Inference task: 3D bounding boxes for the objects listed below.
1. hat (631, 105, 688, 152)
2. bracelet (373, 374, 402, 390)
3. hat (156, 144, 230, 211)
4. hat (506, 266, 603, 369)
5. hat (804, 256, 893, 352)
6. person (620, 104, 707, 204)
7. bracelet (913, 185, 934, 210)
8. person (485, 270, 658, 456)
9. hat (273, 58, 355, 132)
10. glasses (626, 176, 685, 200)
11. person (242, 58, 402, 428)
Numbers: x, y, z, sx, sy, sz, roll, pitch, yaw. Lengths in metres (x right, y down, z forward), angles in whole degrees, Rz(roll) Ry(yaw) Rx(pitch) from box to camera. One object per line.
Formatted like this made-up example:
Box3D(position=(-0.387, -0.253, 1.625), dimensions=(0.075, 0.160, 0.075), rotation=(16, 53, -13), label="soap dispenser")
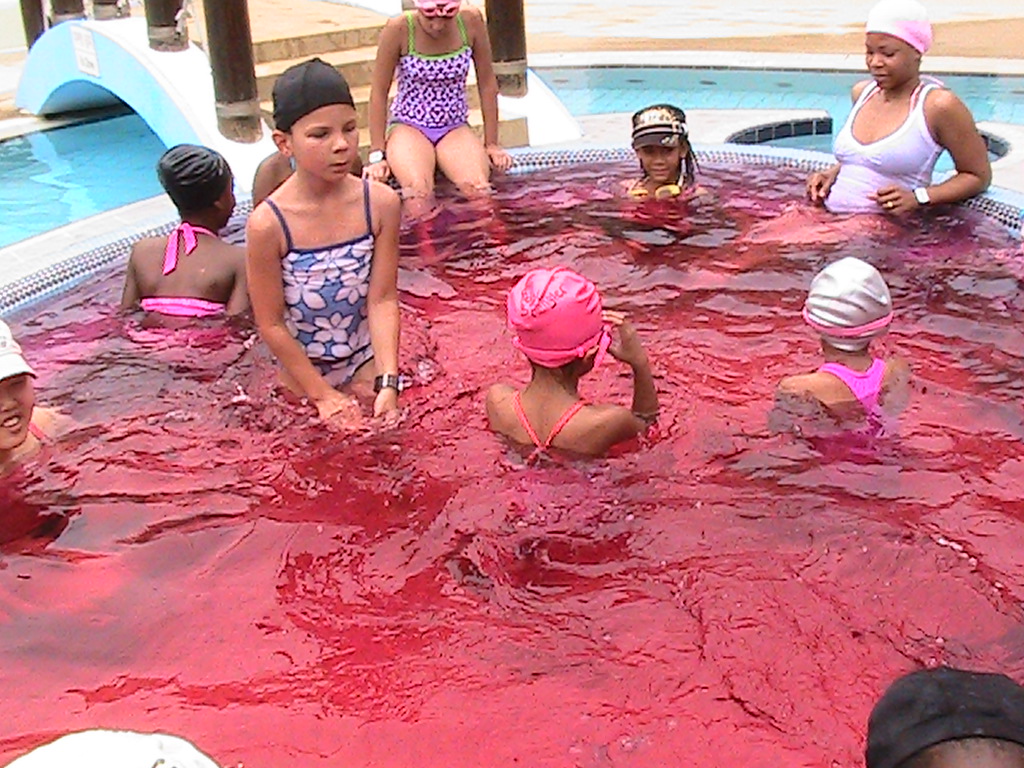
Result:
Box3D(position=(0.970, -1.657, 4.938), dimensions=(0.358, 0.275, 0.237), rotation=(2, 28, 7), label="hat")
Box3D(position=(-0.546, -0.004, 3.288), dimensions=(0.088, 0.073, 0.084), rotation=(14, 30, 18), label="bracelet")
Box3D(position=(-1.687, -1.061, 4.012), dimensions=(0.374, 0.340, 0.407), rotation=(7, 19, 25), label="hat")
Box3D(position=(0.135, -0.224, 2.865), dimensions=(0.474, 0.354, 0.341), rotation=(-3, 12, -36), label="hat")
Box3D(position=(1.310, -0.294, 2.963), dimensions=(0.297, 0.334, 0.242), rotation=(-3, 29, -2), label="hat")
Box3D(position=(1.051, -1.550, 5.165), dimensions=(0.793, 0.702, 0.634), rotation=(2, 32, 15), label="person")
Box3D(position=(2.499, -1.124, 4.576), dimensions=(0.121, 0.030, 0.098), rotation=(4, 62, 1), label="bracelet")
Box3D(position=(0.303, -0.085, 2.972), dimensions=(0.779, 0.674, 0.614), rotation=(4, 17, 39), label="person")
Box3D(position=(-0.841, -1.183, 3.081), dimensions=(0.362, 0.188, 0.344), rotation=(-19, 25, -13), label="hat")
Box3D(position=(1.008, -1.327, 5.273), dimensions=(0.239, 0.075, 0.243), rotation=(8, 10, 35), label="glasses")
Box3D(position=(-0.795, -0.567, 3.127), dimensions=(0.665, 1.399, 0.613), rotation=(-6, 30, -6), label="person")
